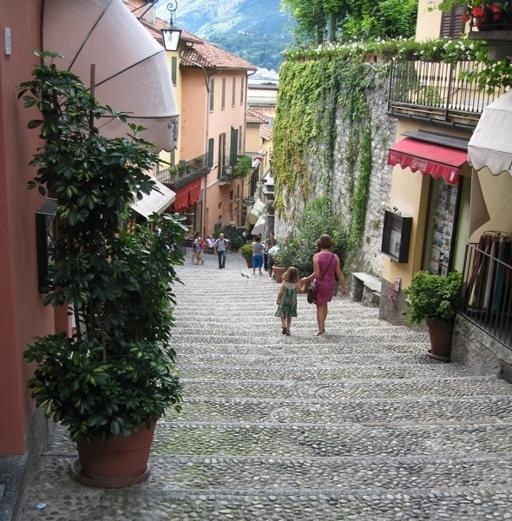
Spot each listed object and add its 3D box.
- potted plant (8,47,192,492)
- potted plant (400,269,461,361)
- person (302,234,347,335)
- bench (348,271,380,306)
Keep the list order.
[{"bbox_3d":[-0.894,-0.002,3.013,0.967,2.492,0.801,2,1,-7],"label":"potted plant"},{"bbox_3d":[2.191,0.647,6.846,0.939,1.257,1.042,2,0,16],"label":"potted plant"},{"bbox_3d":[1.000,0.379,7.737,0.608,1.175,0.743,2,1,6],"label":"person"},{"bbox_3d":[2.382,0.613,11.189,0.479,0.605,1.796,2,1,1],"label":"bench"}]
